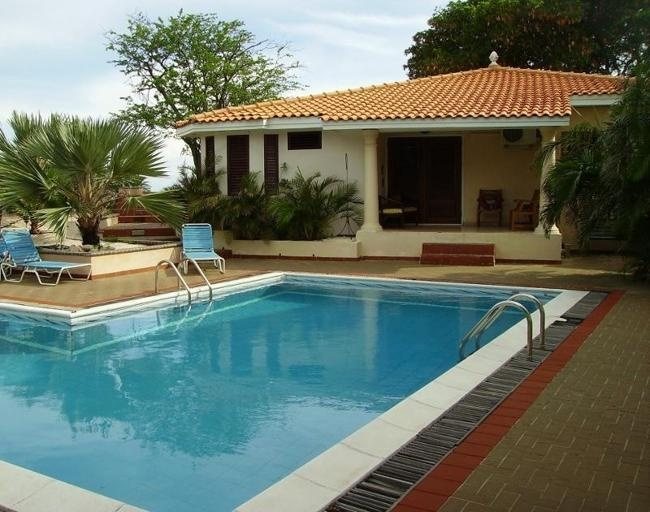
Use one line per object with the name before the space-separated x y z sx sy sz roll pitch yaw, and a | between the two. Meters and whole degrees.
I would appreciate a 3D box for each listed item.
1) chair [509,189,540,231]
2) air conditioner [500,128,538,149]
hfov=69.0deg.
chair | 6.770 -1.484 15.825 1.067 1.192 1.027 -1 -4 29
air conditioner | 6.287 -3.802 15.403 1.107 0.683 0.551 0 1 9
